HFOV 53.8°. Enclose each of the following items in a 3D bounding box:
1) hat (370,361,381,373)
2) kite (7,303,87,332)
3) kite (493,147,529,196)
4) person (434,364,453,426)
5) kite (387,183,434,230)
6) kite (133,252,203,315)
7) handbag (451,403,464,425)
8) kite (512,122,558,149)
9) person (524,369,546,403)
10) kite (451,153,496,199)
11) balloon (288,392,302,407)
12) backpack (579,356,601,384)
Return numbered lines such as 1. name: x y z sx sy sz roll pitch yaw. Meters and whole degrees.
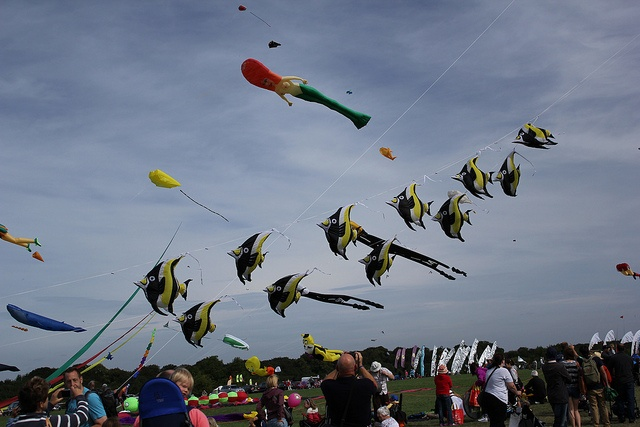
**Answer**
1. hat: 1.893 5.216 21.503 0.376 0.363 0.200 -16 -25 33
2. kite: -10.642 3.878 23.483 2.105 0.950 1.570 -4 -15 7
3. kite: 8.498 -1.822 27.610 0.701 1.917 2.207 -8 6 -33
4. person: 4.476 6.552 22.860 0.589 2.125 1.030 -4 -16 7
5. kite: 4.007 -0.312 27.402 2.918 2.170 0.946 10 -19 -36
6. kite: -6.258 2.968 25.236 1.498 2.220 0.783 -5 -17 12
7. handbag: 5.018 7.345 22.932 0.523 0.524 0.500 -3 -13 11
8. kite: 9.093 -3.284 26.735 1.331 1.387 1.133 -6 -16 14
9. person: 7.185 5.838 21.220 0.862 1.084 0.773 5 -7 -35
10. kite: 6.892 -1.638 27.428 0.614 1.803 2.326 -19 12 -37
11. balloon: -0.947 6.658 22.462 0.422 0.466 1.010 -1 -15 -3
12. backpack: 8.848 5.177 20.769 0.623 0.827 0.490 -9 -37 10
